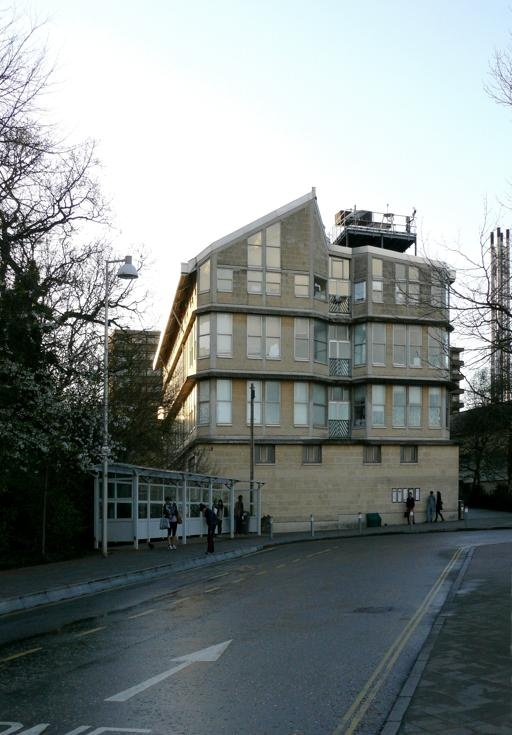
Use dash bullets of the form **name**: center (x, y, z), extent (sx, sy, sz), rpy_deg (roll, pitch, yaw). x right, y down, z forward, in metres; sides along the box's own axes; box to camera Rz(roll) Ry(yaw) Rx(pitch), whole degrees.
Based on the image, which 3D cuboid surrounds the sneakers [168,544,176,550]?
- **sneakers**: center (-2.831, 6.015, 30.020), extent (0.131, 0.173, 0.383), rpy_deg (0, -1, 3)

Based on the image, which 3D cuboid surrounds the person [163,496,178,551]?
- **person**: center (-2.920, 5.309, 30.454), extent (0.533, 1.696, 2.063), rpy_deg (1, -9, -6)

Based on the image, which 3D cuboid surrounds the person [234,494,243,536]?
- **person**: center (-0.796, 6.766, 41.115), extent (0.433, 1.705, 0.797), rpy_deg (0, -8, -2)
